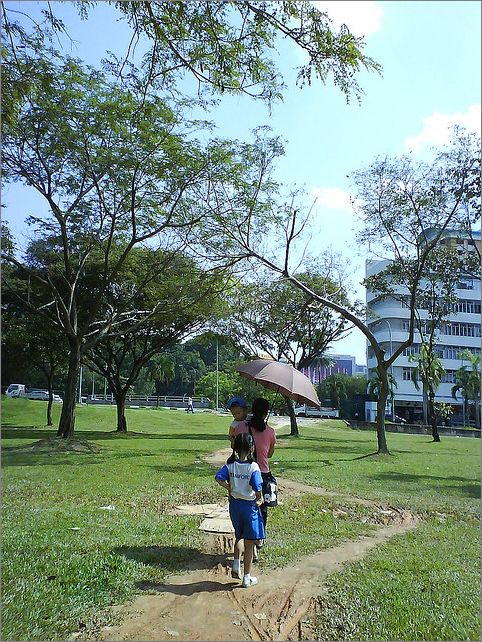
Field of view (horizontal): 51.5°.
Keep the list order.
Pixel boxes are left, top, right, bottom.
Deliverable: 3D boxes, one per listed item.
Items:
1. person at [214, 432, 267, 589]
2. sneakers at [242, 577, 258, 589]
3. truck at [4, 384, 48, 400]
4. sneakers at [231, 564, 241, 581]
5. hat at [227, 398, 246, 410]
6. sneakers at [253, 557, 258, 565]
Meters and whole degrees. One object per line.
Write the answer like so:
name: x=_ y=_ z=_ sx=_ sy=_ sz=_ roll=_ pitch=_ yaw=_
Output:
person: x=-0.002 y=1.771 z=4.811 sx=0.434 sy=1.380 sz=0.310 roll=-2 pitch=-8 yaw=27
sneakers: x=0.090 y=2.379 z=4.612 sx=0.067 sy=0.108 sz=0.157 roll=-1 pitch=-5 yaw=23
truck: x=-24.289 y=7.892 z=56.704 sx=3.602 sy=1.686 sz=8.084 roll=3 pitch=-8 yaw=-12
sneakers: x=-0.039 y=2.346 z=4.700 sx=0.078 sy=0.196 sz=0.192 roll=1 pitch=-7 yaw=0
hat: x=-0.039 y=0.912 z=5.650 sx=0.204 sy=0.146 sz=0.322 roll=2 pitch=-12 yaw=0
sneakers: x=0.164 y=2.559 z=5.365 sx=0.070 sy=0.070 sz=0.124 roll=-2 pitch=-8 yaw=2
